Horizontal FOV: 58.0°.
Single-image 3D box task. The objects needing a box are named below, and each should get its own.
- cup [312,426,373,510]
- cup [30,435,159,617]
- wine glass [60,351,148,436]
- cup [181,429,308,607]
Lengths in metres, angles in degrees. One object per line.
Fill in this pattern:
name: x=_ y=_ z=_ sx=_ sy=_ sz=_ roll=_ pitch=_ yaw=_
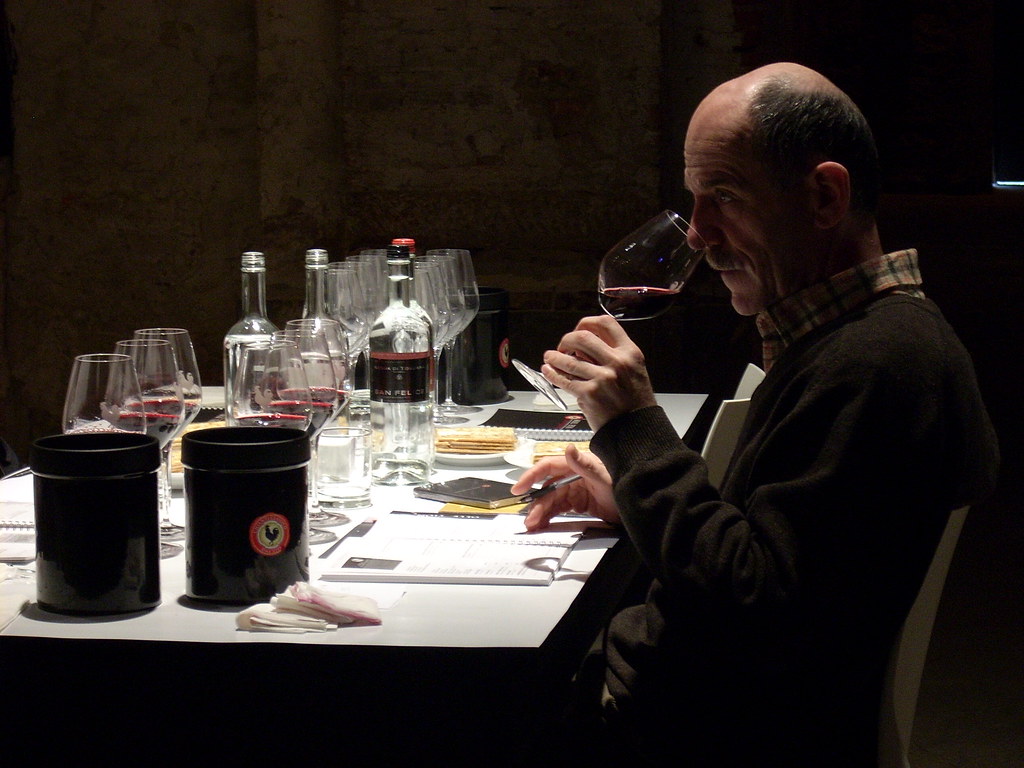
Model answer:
cup: x=-0.289 y=0.148 z=1.675 sx=0.081 sy=0.130 sz=0.133 roll=15 pitch=9 yaw=32
cup: x=-0.501 y=0.178 z=1.238 sx=0.195 sy=0.220 sz=0.199 roll=1 pitch=4 yaw=0
wine glass: x=-0.594 y=0.008 z=1.355 sx=0.127 sy=0.123 sz=0.121 roll=1 pitch=2 yaw=12
cup: x=-0.344 y=0.165 z=1.231 sx=0.152 sy=0.172 sz=0.152 roll=1 pitch=3 yaw=0
